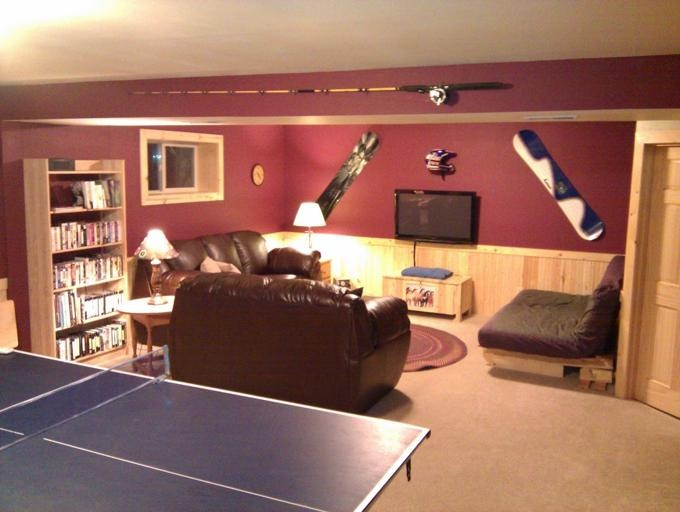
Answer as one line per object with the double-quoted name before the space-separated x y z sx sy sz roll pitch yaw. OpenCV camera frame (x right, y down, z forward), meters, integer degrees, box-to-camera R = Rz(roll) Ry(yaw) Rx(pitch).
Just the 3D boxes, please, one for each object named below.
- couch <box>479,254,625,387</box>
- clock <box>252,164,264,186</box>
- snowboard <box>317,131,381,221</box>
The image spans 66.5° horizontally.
"couch" 2.332 0.613 5.593 1.221 1.129 1.402 5 13 29
"clock" -1.297 -1.276 8.163 0.048 0.340 0.352 2 6 25
"snowboard" 0.117 -1.286 8.273 0.509 2.009 0.033 40 21 18
